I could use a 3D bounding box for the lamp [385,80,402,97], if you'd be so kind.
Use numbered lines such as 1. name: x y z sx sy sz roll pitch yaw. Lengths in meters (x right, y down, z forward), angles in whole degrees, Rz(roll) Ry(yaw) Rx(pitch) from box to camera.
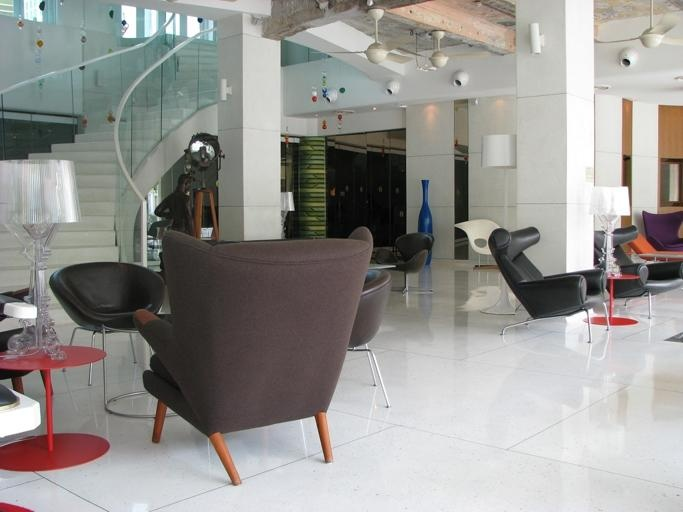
1. lamp: 1.218 -3.978 12.725 0.284 0.278 0.315 5 2 -1

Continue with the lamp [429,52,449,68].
1. lamp: 1.761 -3.578 9.719 0.250 0.336 0.458 1 6 17

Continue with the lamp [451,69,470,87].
1. lamp: 2.620 -3.931 11.971 0.326 0.345 0.326 10 51 38

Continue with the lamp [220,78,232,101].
1. lamp: -1.733 -2.504 8.071 0.171 0.317 0.112 -2 7 -13

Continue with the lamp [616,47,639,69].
1. lamp: 5.383 -3.705 10.106 0.316 0.324 0.375 -2 44 49

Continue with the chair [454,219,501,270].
1. chair: 2.790 -0.264 11.092 1.071 1.135 0.796 -3 4 -17

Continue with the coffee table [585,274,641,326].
1. coffee table: 3.149 0.532 6.429 0.629 0.587 0.589 -3 6 -44

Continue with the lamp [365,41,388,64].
1. lamp: 0.522 -3.096 8.150 0.288 0.356 0.337 -1 6 0

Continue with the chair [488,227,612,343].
1. chair: 2.345 0.322 6.177 1.281 1.478 1.170 -4 -3 27

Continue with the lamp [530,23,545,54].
1. lamp: 2.312 -2.587 6.361 0.164 0.368 0.127 -5 8 -37

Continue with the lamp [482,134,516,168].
1. lamp: 2.110 -1.362 7.264 0.447 0.401 0.422 1 -2 -25

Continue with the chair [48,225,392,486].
1. chair: -0.626 0.514 3.213 1.176 1.056 1.388 0 2 -37

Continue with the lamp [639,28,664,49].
1. lamp: 4.699 -3.310 8.160 0.273 0.259 0.544 3 7 31
